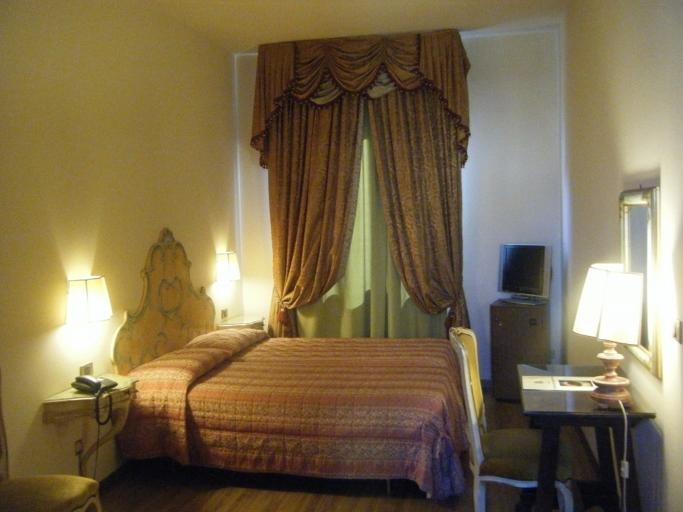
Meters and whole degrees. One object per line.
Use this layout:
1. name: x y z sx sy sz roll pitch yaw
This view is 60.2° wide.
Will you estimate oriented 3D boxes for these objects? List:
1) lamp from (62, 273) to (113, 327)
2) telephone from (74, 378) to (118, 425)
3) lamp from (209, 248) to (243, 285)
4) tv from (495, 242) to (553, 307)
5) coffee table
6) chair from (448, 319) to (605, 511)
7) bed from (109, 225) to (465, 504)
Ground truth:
1. lamp: -1.809 0.301 4.272 0.296 0.368 0.318 3 7 27
2. telephone: -1.720 0.988 4.105 0.233 0.356 0.114 5 -10 4
3. lamp: -1.239 0.106 6.322 0.281 0.342 0.312 -8 12 -38
4. tv: 1.901 0.200 6.062 0.578 0.666 0.083 2 -1 36
5. coffee table: 1.529 1.198 3.827 0.767 0.811 0.973 4 16 17
6. chair: 1.286 0.944 4.481 0.984 1.963 1.150 -4 -1 14
7. bed: -0.400 0.973 5.022 2.278 1.729 1.904 0 9 12
